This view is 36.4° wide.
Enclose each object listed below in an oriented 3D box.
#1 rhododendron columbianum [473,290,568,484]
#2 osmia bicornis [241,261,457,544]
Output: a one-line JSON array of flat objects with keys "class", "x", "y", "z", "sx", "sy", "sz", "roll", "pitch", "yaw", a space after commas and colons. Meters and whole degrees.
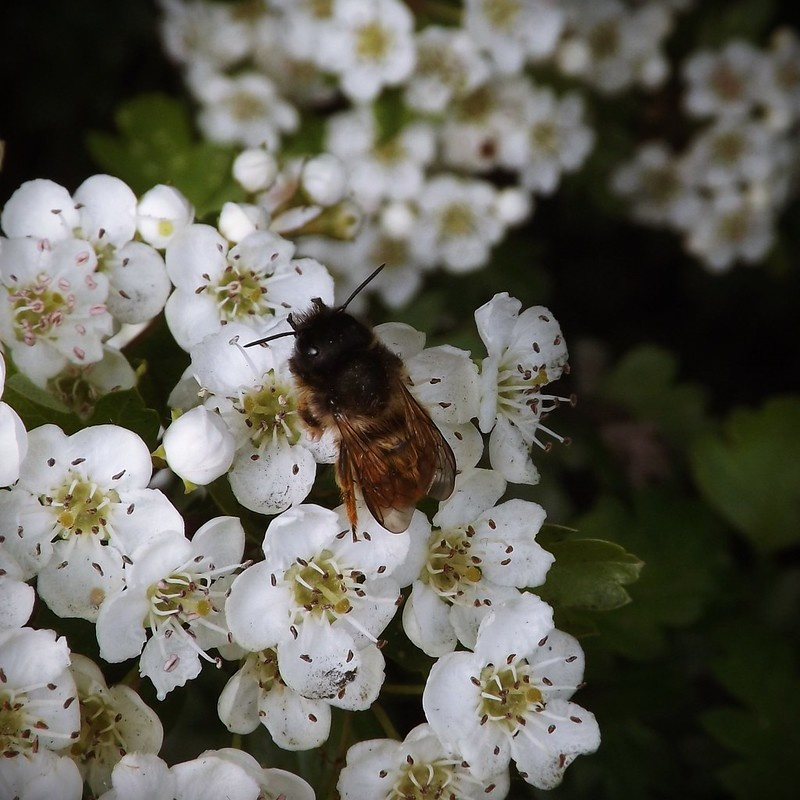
[{"class": "rhododendron columbianum", "x": 0.130, "y": -0.010, "z": 1.441, "sx": 0.184, "sy": 0.073, "sz": 0.198, "roll": 20, "pitch": 70, "yaw": -41}, {"class": "osmia bicornis", "x": -0.075, "y": 0.006, "z": 1.497, "sx": 0.234, "sy": 0.097, "sz": 0.327, "roll": -35, "pitch": 98, "yaw": -11}]
